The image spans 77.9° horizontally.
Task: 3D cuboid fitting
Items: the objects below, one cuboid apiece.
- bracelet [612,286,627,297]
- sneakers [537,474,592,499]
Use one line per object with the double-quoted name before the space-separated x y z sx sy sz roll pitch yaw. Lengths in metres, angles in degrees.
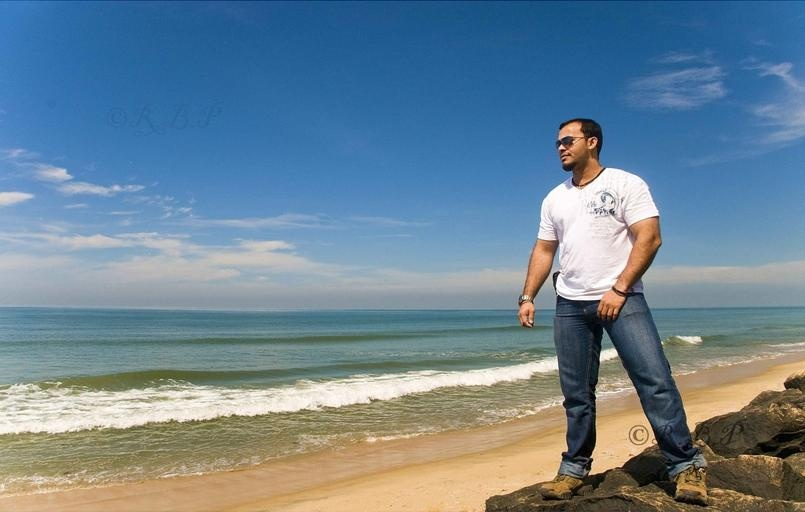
"bracelet" 2.534 0.426 5.797 0.149 0.027 0.121 9 15 -15
"sneakers" 2.021 2.841 6.220 0.639 0.204 0.232 1 -12 -26
